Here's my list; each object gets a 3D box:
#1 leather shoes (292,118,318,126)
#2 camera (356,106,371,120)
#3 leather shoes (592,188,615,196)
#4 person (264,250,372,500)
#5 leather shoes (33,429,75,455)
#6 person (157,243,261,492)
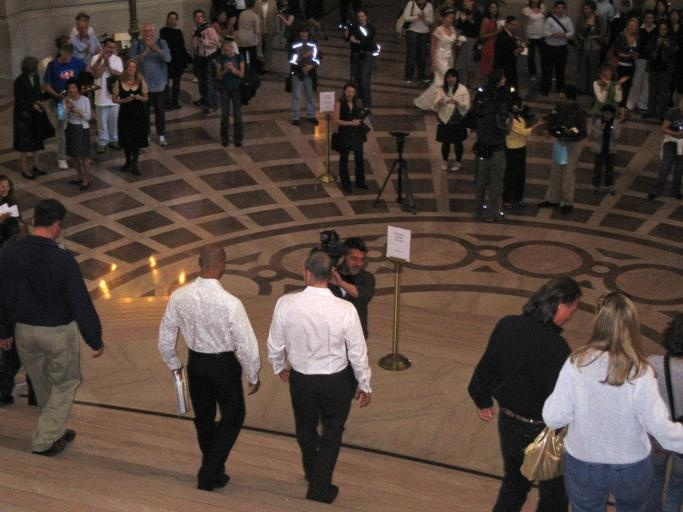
[{"bbox_3d":[-0.686,-2.671,14.626,0.352,0.091,0.229,-2,-2,-10],"label":"leather shoes"},{"bbox_3d":[0.380,-2.266,11.621,0.182,0.101,0.252,6,56,30],"label":"camera"},{"bbox_3d":[4.160,-1.041,11.683,0.330,0.110,0.262,7,17,16],"label":"leather shoes"},{"bbox_3d":[-0.183,0.792,4.881,0.700,1.585,0.651,7,18,14],"label":"person"},{"bbox_3d":[-2.023,1.301,5.185,0.079,0.151,0.219,39,54,19],"label":"leather shoes"},{"bbox_3d":[-0.855,0.730,4.988,0.539,1.555,0.608,-11,22,-37],"label":"person"}]
